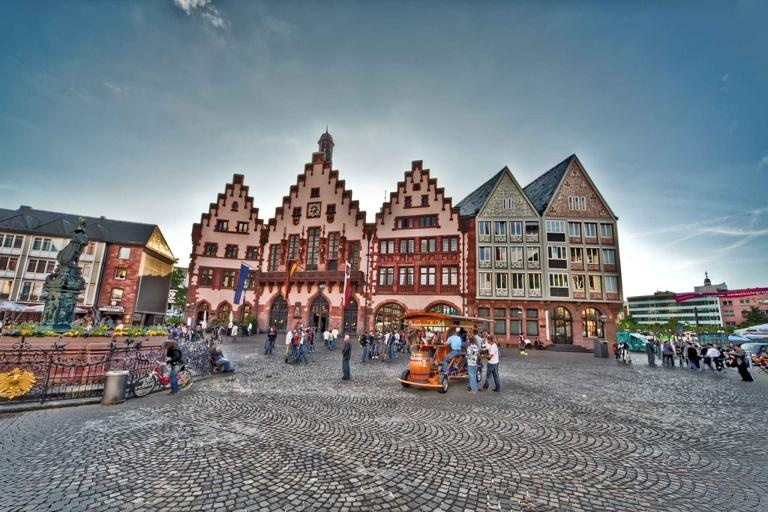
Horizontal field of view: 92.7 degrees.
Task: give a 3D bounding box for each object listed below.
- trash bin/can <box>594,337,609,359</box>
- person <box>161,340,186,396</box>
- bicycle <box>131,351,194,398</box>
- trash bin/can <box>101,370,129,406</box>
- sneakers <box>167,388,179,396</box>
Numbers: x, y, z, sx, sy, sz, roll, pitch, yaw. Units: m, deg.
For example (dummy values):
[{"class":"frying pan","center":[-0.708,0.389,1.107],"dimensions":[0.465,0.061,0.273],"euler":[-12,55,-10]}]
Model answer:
[{"class":"trash bin/can","center":[17.728,7.589,30.033],"dimensions":[0.860,1.253,1.067],"euler":[-1,-6,19]},{"class":"person","center":[-7.853,4.082,13.635],"dimensions":[0.644,1.904,0.645],"euler":[5,-7,-28]},{"class":"bicycle","center":[-8.385,4.595,14.100],"dimensions":[2.310,1.316,1.115],"euler":[7,-17,-42]},{"class":"trash bin/can","center":[-8.958,4.342,12.163],"dimensions":[0.653,1.002,0.364],"euler":[6,-8,-37]},{"class":"sneakers","center":[-7.827,5.044,13.664],"dimensions":[0.154,0.188,0.448],"euler":[-15,-25,38]}]
